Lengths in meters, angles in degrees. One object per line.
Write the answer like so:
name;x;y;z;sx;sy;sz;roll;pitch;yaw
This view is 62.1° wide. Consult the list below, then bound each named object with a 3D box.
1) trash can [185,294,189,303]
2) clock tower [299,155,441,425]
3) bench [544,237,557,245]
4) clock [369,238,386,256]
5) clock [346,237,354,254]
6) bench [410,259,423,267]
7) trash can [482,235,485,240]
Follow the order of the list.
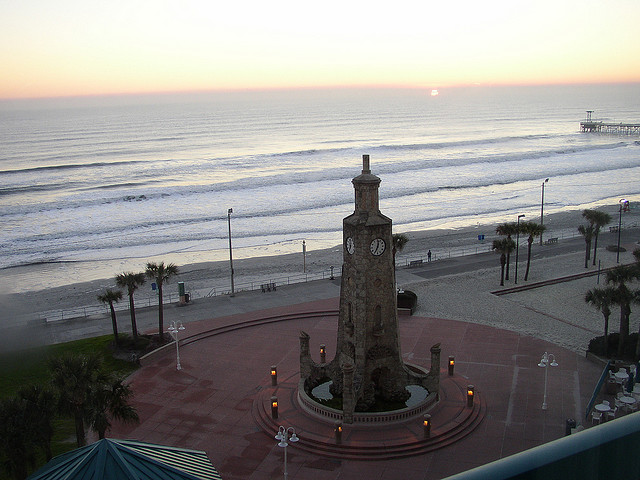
trash can;-11.516;5.026;45.895;0.275;0.656;0.478;-4;14;-6
clock tower;2.732;2.212;26.732;4.776;12.765;3.327;-6;14;-12
bench;26.379;-0.125;60.746;1.703;0.992;0.548;-10;25;-16
clock;2.804;0.331;26.436;0.654;0.648;0.087;-42;21;-9
clock;1.508;0.279;26.692;0.130;0.842;0.736;-7;15;-14
bench;9.927;2.385;55.492;1.055;0.334;1.639;3;15;20
trash can;19.802;-0.409;64.905;0.263;0.480;0.495;7;16;28
